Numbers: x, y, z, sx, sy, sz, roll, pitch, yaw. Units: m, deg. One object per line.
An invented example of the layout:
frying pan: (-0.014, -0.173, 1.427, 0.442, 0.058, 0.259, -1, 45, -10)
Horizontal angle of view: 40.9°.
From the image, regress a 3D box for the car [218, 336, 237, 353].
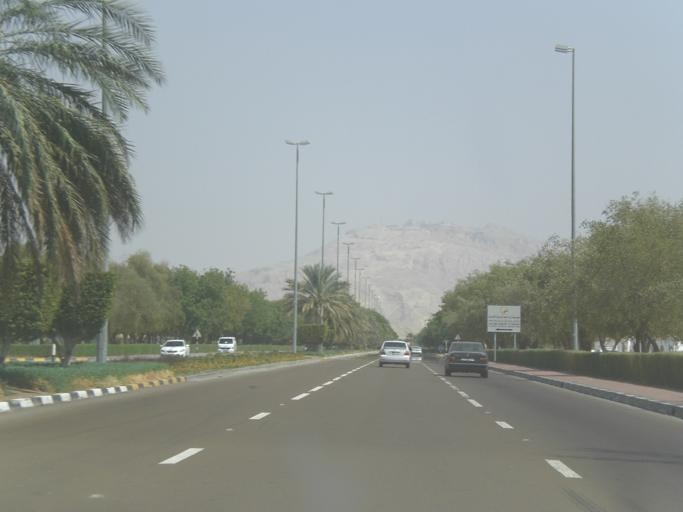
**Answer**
car: (-11.640, 9.028, 92.492, 1.389, 1.691, 2.765, 0, -13, -2)

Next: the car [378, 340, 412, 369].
car: (2.977, 5.554, 51.937, 1.680, 1.658, 3.227, -1, -9, 2)

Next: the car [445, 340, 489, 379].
car: (5.656, 4.718, 41.621, 1.844, 1.781, 2.439, -2, -9, 9)
